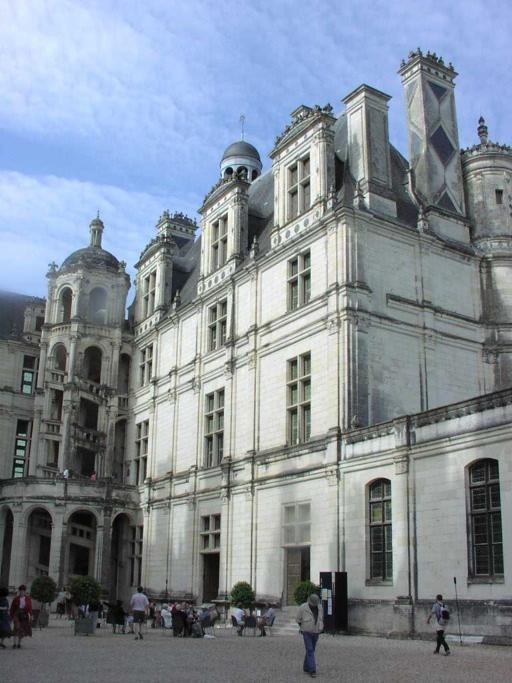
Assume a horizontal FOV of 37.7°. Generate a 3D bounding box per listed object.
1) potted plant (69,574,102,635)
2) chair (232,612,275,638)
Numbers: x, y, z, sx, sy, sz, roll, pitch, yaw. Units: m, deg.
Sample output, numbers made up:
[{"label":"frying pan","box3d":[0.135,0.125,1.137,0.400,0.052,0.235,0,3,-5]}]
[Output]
[{"label":"potted plant","box3d":[-7.647,11.664,33.027,1.559,2.508,1.628,-2,-16,-1]},{"label":"chair","box3d":[-0.231,9.529,25.438,1.239,0.607,1.254,-24,-37,36]}]
